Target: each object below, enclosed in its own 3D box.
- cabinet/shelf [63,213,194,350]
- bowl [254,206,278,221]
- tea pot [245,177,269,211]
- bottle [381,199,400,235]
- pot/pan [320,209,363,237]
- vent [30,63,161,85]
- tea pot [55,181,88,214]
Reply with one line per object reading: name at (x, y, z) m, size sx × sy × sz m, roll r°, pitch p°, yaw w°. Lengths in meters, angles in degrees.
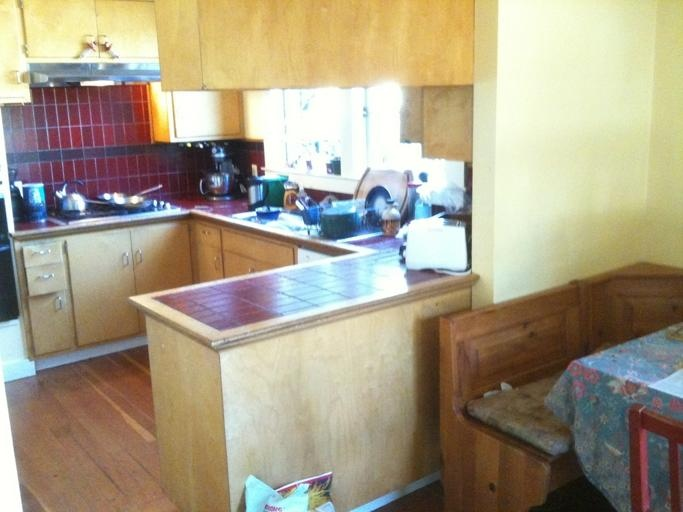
cabinet/shelf at (-1.557, 0.171, 3.779) m, size 0.933 × 0.836 × 0.357 m, roll -9°, pitch 13°, yaw -35°
bowl at (-0.546, -0.321, 4.042) m, size 0.187 × 0.076 × 0.306 m, roll -5°, pitch 15°, yaw -8°
tea pot at (-0.655, -0.486, 4.210) m, size 0.154 × 0.246 × 0.091 m, roll -5°, pitch 15°, yaw -7°
bottle at (0.329, -0.232, 3.339) m, size 0.147 × 0.215 × 0.088 m, roll -10°, pitch 17°, yaw -25°
pot/pan at (-0.018, -0.195, 3.296) m, size 0.189 × 0.122 × 0.191 m, roll 5°, pitch 7°, yaw 45°
vent at (-1.842, -1.377, 4.073) m, size 0.889 × 0.157 × 0.183 m, roll -10°, pitch 16°, yaw -26°
tea pot at (-2.128, -0.447, 4.221) m, size 0.170 × 0.224 × 0.370 m, roll -16°, pitch 20°, yaw -41°
